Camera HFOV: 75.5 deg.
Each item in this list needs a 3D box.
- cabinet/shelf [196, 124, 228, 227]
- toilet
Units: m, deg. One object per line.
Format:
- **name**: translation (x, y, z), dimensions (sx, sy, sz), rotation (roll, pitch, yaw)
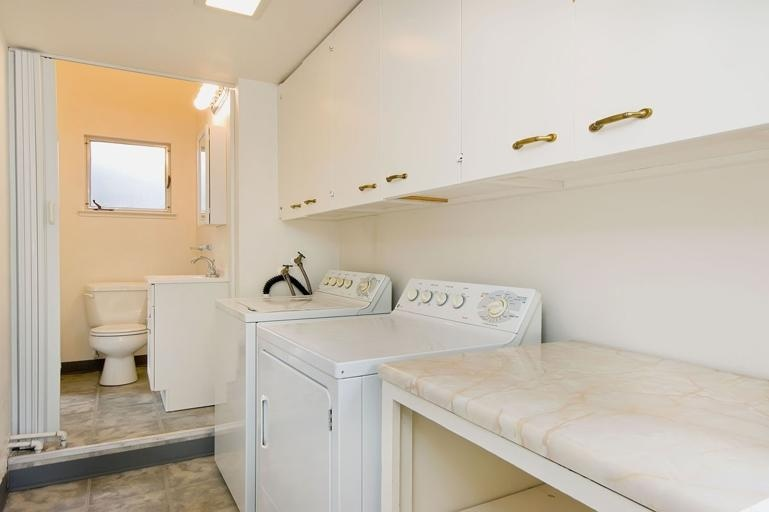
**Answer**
- **cabinet/shelf**: translation (-1.286, -0.597, 3.717), dimensions (0.158, 0.666, 0.420), rotation (-3, 10, -30)
- **toilet**: translation (-2.309, 0.637, 4.308), dimensions (0.546, 0.785, 0.764), rotation (2, 2, -24)
